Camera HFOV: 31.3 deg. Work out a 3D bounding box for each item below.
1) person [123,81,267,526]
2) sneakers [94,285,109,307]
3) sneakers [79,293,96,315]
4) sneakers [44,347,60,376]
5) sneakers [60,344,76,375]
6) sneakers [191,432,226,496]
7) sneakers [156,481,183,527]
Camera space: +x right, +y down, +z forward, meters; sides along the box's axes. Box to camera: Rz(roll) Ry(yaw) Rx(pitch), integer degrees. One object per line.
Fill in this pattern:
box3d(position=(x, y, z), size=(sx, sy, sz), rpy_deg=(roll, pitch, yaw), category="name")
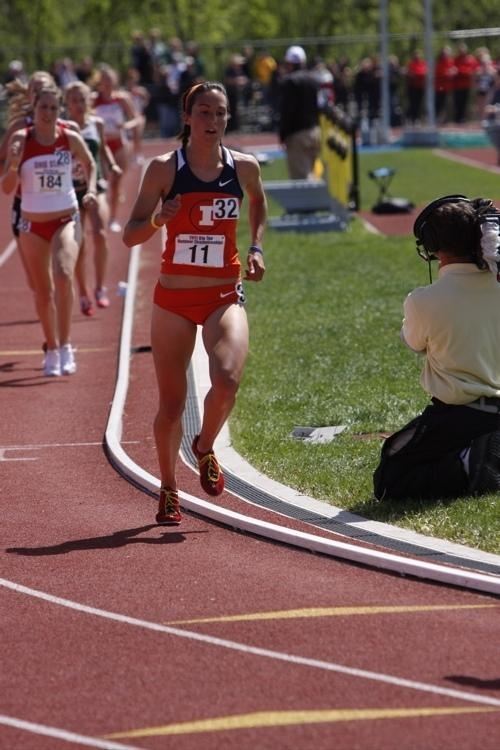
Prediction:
box3d(position=(-0.232, -0.260, 4.010), size=(0.568, 2.037, 0.694), rpy_deg=(2, 16, 12), category="person")
box3d(position=(-1.480, -0.774, 9.053), size=(0.102, 0.101, 0.251), rpy_deg=(-7, 32, -23), category="sneakers")
box3d(position=(-1.573, -0.662, 8.518), size=(0.110, 0.081, 0.195), rpy_deg=(-32, 63, -3), category="sneakers")
box3d(position=(-1.507, -0.095, 6.783), size=(0.093, 0.100, 0.241), rpy_deg=(-7, 43, -11), category="sneakers")
box3d(position=(-1.402, -0.119, 6.883), size=(0.099, 0.235, 0.105), rpy_deg=(-4, -9, -3), category="sneakers")
box3d(position=(-0.184, 0.421, 4.167), size=(0.131, 0.298, 0.127), rpy_deg=(-21, -10, -11), category="sneakers")
box3d(position=(-0.382, 0.631, 4.206), size=(0.091, 0.089, 0.233), rpy_deg=(-1, 8, -5), category="sneakers")
